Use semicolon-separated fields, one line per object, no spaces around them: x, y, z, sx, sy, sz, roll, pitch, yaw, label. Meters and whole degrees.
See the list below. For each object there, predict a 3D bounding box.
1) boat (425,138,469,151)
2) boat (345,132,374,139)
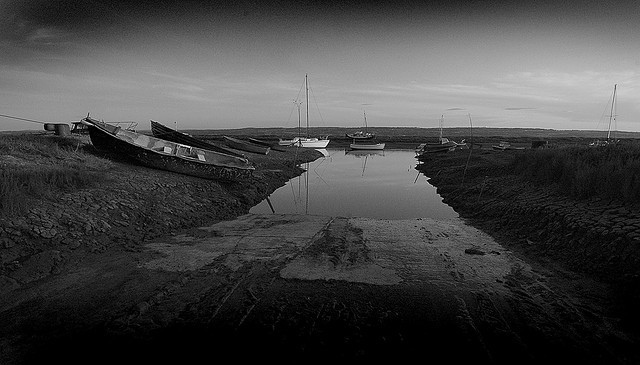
14.580;-4.394;42.629;3.360;0.787;2.916;-2;3;-12;boat
8.048;-9.661;73.178;4.460;1.438;21.709;3;8;8;boat
